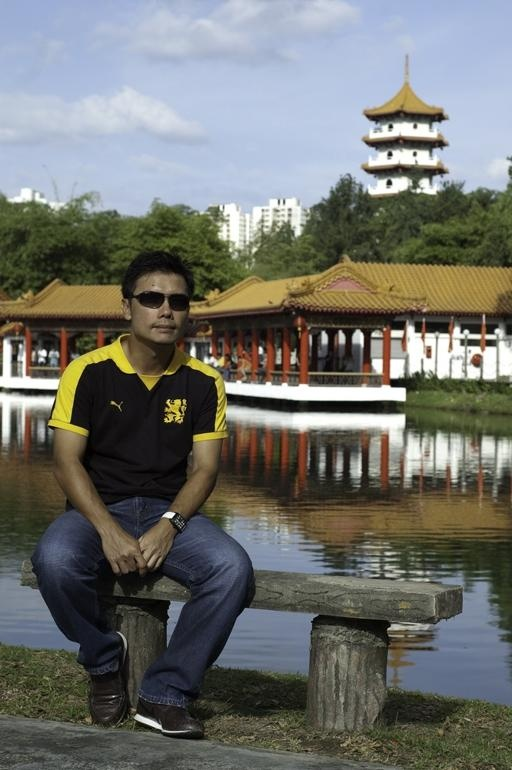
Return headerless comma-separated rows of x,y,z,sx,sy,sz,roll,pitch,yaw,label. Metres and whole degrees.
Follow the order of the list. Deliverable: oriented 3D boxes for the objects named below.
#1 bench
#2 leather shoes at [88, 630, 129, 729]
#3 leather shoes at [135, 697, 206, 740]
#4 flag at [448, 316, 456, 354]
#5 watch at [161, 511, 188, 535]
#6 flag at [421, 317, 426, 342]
-0.093,0.974,4.878,1.619,0.518,0.449,5,2,19,bench
-0.556,1.094,4.708,0.146,0.328,0.231,1,0,-7,leather shoes
-0.297,1.193,4.466,0.105,0.111,0.268,7,-7,-43,leather shoes
6.299,-1.646,40.304,0.212,1.144,0.360,1,1,14,flag
-0.300,0.512,4.730,0.065,0.094,0.096,-44,28,-19,watch
5.372,-1.777,40.021,0.220,0.849,0.736,1,0,8,flag
